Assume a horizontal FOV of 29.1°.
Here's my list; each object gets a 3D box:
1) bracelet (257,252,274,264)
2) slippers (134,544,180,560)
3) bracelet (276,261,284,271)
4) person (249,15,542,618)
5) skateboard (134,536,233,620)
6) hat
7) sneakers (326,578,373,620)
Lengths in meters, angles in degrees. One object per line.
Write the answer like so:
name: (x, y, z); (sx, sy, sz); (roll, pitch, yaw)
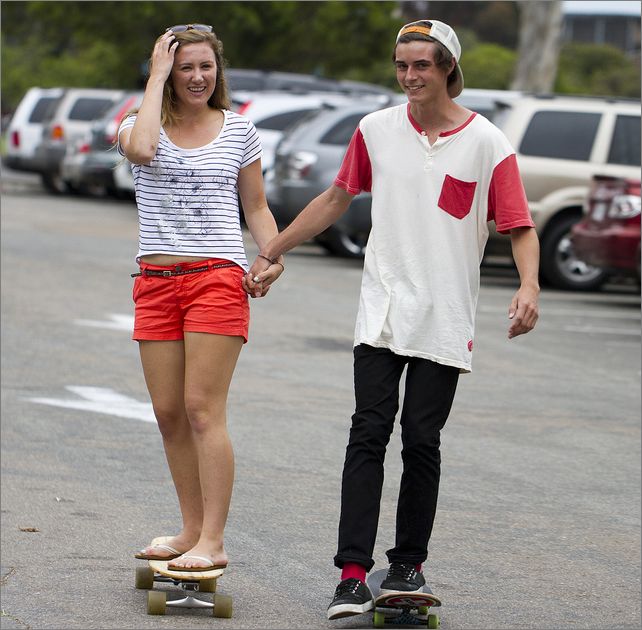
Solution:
bracelet: (-0.197, -0.208, 4.492); (0.047, 0.013, 0.035); (25, 0, 10)
slippers: (-0.562, 0.828, 4.352); (0.170, 0.039, 0.055); (0, 19, -13)
bracelet: (-0.137, -0.180, 4.503); (0.029, 0.027, 0.031); (8, 19, 23)
person: (0.360, -0.022, 4.230); (0.754, 1.953, 0.785); (4, 10, -3)
skateboard: (-0.475, 0.904, 4.307); (0.322, 0.164, 0.446); (2, 9, -8)
hat: (0.412, -0.889, 4.318); (0.236, 0.256, 0.297); (1, 7, 18)
sneakers: (0.101, 0.952, 4.062); (0.149, 0.163, 0.160); (4, 10, 1)
